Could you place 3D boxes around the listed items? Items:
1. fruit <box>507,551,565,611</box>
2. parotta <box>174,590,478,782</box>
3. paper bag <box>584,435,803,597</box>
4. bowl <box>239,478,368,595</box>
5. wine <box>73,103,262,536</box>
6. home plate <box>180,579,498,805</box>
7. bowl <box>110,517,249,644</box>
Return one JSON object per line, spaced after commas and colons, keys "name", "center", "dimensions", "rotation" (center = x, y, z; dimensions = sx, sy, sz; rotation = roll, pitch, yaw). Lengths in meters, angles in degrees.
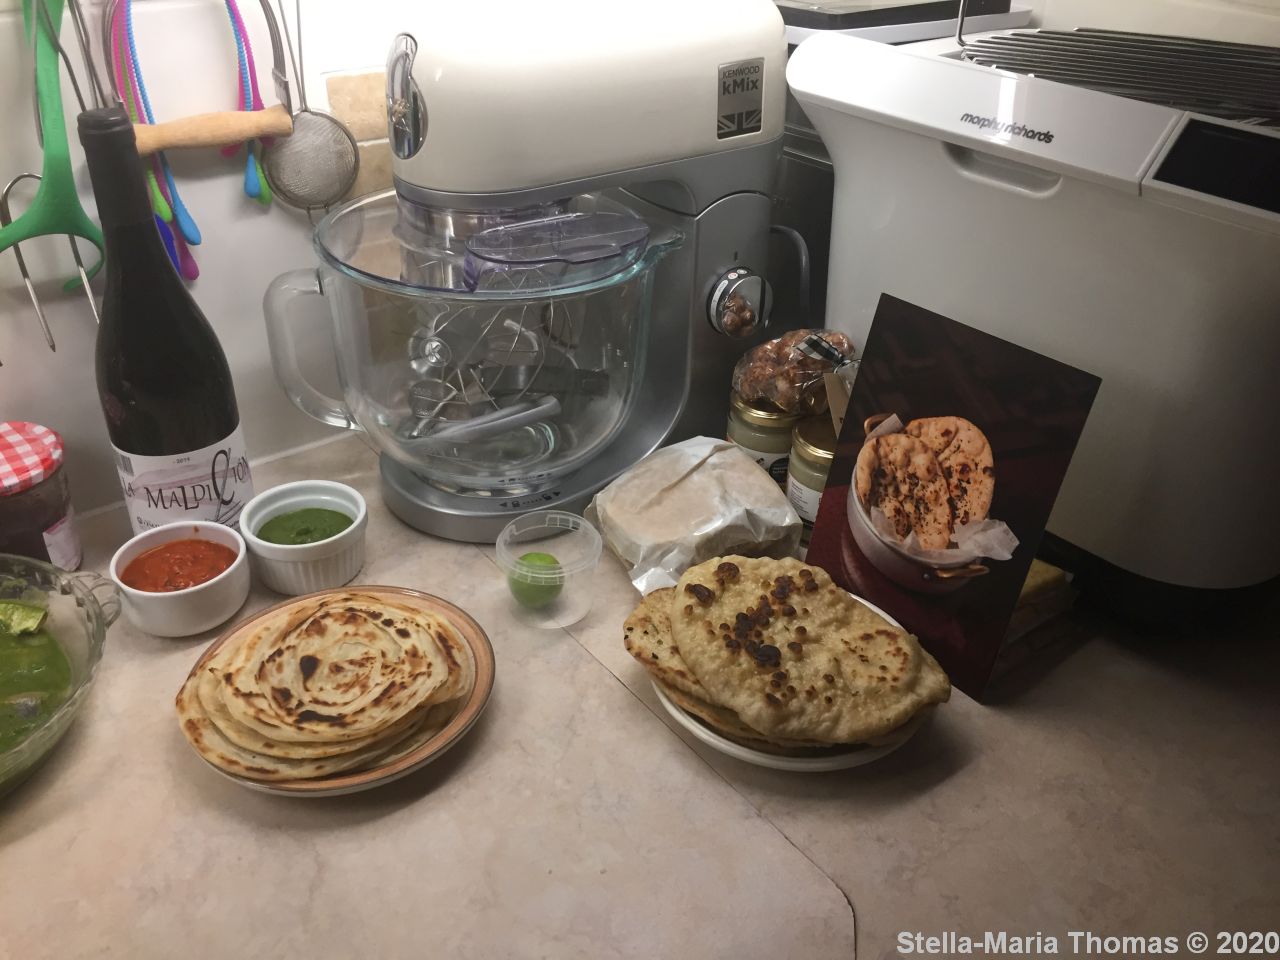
{"name": "fruit", "center": [-0.094, 0.092, 0.821], "dimensions": [0.047, 0.051, 0.049], "rotation": [9, 18, -2]}
{"name": "parotta", "center": [-0.226, 0.113, 0.683], "dimensions": [0.151, 0.046, 0.162], "rotation": [-19, 38, -41]}
{"name": "paper bag", "center": [0.045, 0.026, 0.856], "dimensions": [0.145, 0.051, 0.152], "rotation": [-28, 48, -6]}
{"name": "bowl", "center": [-0.318, 0.058, 0.858], "dimensions": [0.106, 0.066, 0.111], "rotation": [0, 27, 0]}
{"name": "wine", "center": [-0.424, -0.123, 0.781], "dimensions": [0.110, 0.348, 0.135], "rotation": [-16, 40, -22]}
{"name": "home plate", "center": [-0.227, 0.155, 0.710], "dimensions": [0.175, 0.050, 0.163], "rotation": [26, 34, 32]}
{"name": "bowl", "center": [-0.404, 0.087, 0.809], "dimensions": [0.105, 0.054, 0.110], "rotation": [4, 30, -2]}
